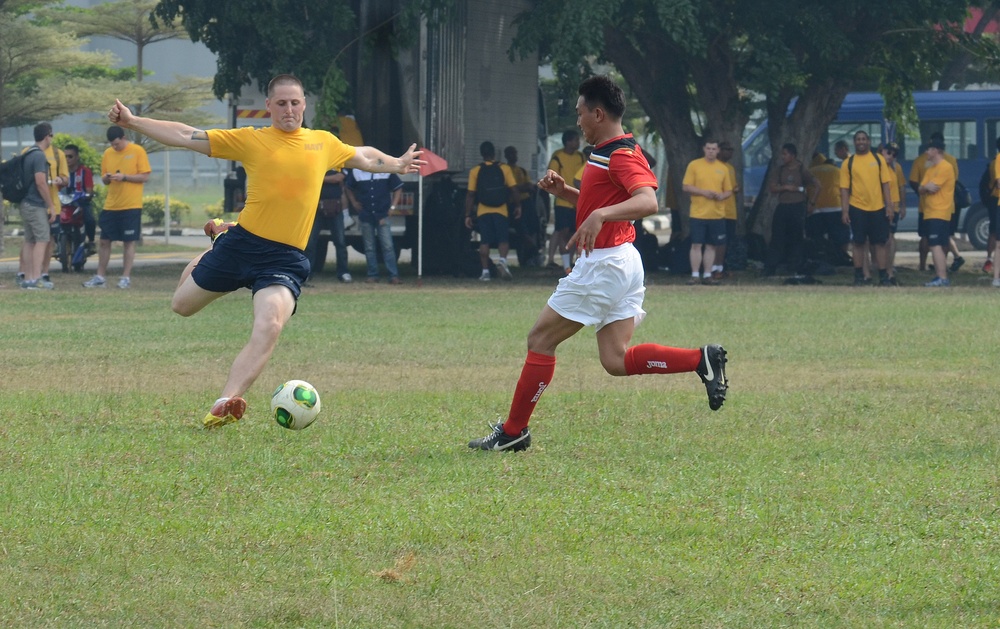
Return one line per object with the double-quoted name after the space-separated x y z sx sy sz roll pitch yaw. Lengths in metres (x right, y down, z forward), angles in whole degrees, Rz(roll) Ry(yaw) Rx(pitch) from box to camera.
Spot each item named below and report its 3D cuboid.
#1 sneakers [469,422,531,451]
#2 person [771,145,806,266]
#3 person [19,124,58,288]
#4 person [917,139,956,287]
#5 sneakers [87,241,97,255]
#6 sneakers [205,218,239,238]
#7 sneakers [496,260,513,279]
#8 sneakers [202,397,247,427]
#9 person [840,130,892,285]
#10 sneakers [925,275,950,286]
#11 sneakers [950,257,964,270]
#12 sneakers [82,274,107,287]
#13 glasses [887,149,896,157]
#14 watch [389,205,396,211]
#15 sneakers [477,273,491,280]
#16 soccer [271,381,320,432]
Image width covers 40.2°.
0.026 1.067 11.870 0.618 0.245 0.198 2 -3 -1 "sneakers"
4.856 -1.793 22.949 0.574 2.147 1.194 2 4 11 "person"
-7.303 -1.727 21.409 0.492 2.574 0.766 0 4 -19 "person"
7.161 -1.686 22.291 0.546 2.376 0.680 2 4 17 "person"
-7.762 -1.288 25.856 0.253 0.235 0.442 2 1 -16 "sneakers"
-2.659 -0.844 12.891 0.307 0.126 0.239 -6 -10 33 "sneakers"
0.103 -0.743 23.916 0.159 0.451 0.193 -23 47 7 "sneakers"
-2.316 0.811 11.565 0.454 0.166 0.179 -24 12 38 "sneakers"
6.013 -1.720 22.249 0.714 2.452 1.167 4 5 44 "person"
7.205 -0.569 22.239 0.505 0.197 0.163 3 4 14 "sneakers"
8.495 -0.969 25.229 0.142 0.175 0.425 -28 6 33 "sneakers"
-6.563 -0.545 21.832 0.422 0.180 0.161 2 4 9 "sneakers"
6.535 -2.713 22.710 0.128 0.170 0.044 7 14 27 "glasses"
-1.806 -1.796 22.871 0.107 0.065 0.100 7 8 26 "watch"
-0.286 -0.671 23.681 0.147 0.131 0.125 0 4 13 "sneakers"
-1.803 0.791 11.974 0.402 0.437 0.252 0 4 -8 "soccer"
